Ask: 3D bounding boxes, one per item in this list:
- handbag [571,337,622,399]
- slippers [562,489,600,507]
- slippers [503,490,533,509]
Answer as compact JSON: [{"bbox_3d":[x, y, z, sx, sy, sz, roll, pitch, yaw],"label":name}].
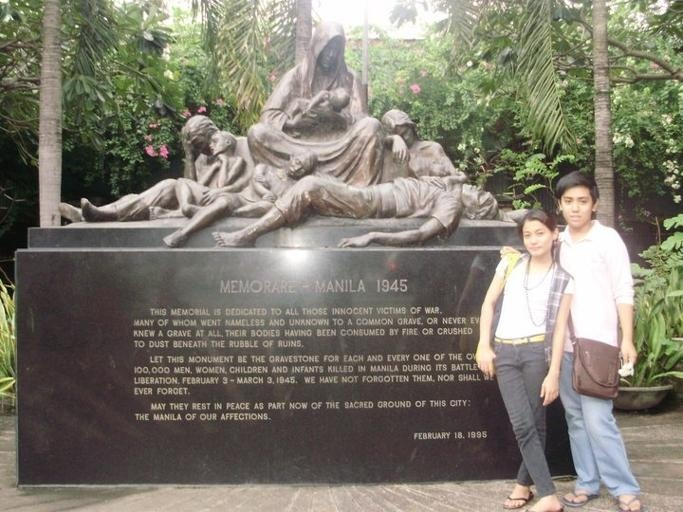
[{"bbox_3d":[2.104,0.905,5.951,0.476,0.586,0.157,4,0,9],"label":"handbag"},{"bbox_3d":[2.068,2.049,6.168,0.281,0.068,0.114,0,1,-24],"label":"slippers"},{"bbox_3d":[1.499,2.038,6.130,0.262,0.110,0.119,6,-9,-44],"label":"slippers"}]
